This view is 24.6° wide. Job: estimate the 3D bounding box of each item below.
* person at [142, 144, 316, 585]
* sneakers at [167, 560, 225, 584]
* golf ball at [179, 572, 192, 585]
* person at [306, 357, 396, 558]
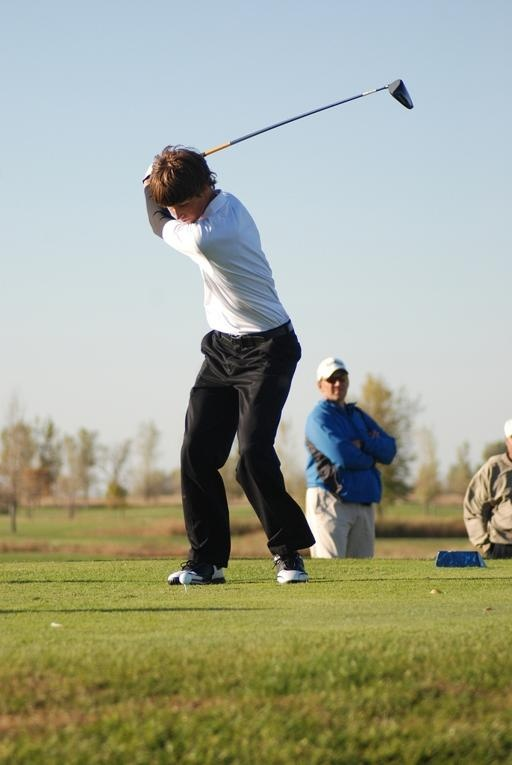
[{"bbox_3d":[-0.085,-0.043,3.852,0.678,1.392,0.517,6,8,-6],"label":"person"},{"bbox_3d":[-0.198,0.624,3.831,0.202,0.088,0.070,6,-20,-13],"label":"sneakers"},{"bbox_3d":[-0.229,0.625,3.757,0.035,0.036,0.037,4,14,-1],"label":"golf ball"},{"bbox_3d":[0.444,0.388,5.724,0.442,0.958,0.519,8,8,6],"label":"person"}]
